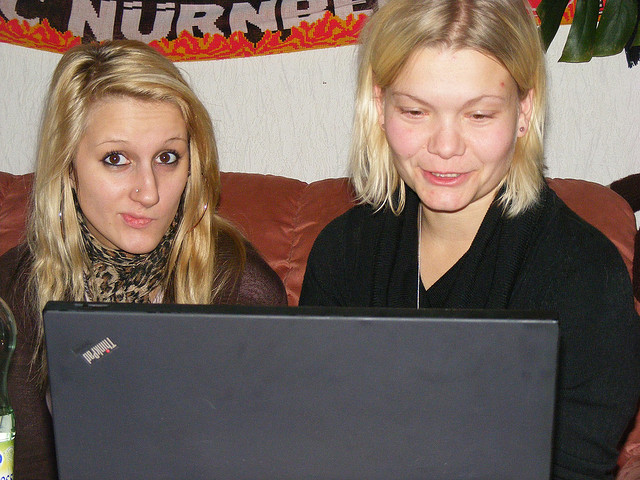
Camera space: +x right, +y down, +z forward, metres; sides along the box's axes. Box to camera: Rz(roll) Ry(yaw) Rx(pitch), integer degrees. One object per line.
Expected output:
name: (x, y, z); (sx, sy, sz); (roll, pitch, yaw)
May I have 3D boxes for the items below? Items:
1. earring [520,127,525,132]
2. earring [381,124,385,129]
earring: (0.490, -0.268, 1.463); (0.014, 0.011, 0.002); (-6, 17, -20)
earring: (0.162, -0.292, 1.552); (0.012, 0.013, 0.003); (-8, -24, 14)
